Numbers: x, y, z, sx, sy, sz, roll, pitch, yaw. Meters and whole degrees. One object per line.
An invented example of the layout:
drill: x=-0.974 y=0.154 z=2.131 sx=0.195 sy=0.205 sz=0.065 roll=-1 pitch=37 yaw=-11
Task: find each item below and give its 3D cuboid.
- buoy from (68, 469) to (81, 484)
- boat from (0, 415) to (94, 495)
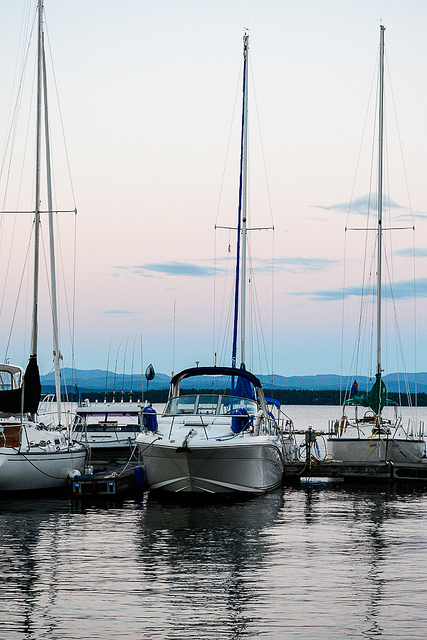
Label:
buoy: x=-2.613 y=2.909 z=25.052 sx=0.169 sy=0.176 sz=0.513 roll=0 pitch=-7 yaw=5
boat: x=-3.183 y=2.519 z=24.386 sx=0.656 sy=1.361 sz=2.500 roll=-2 pitch=-7 yaw=25
